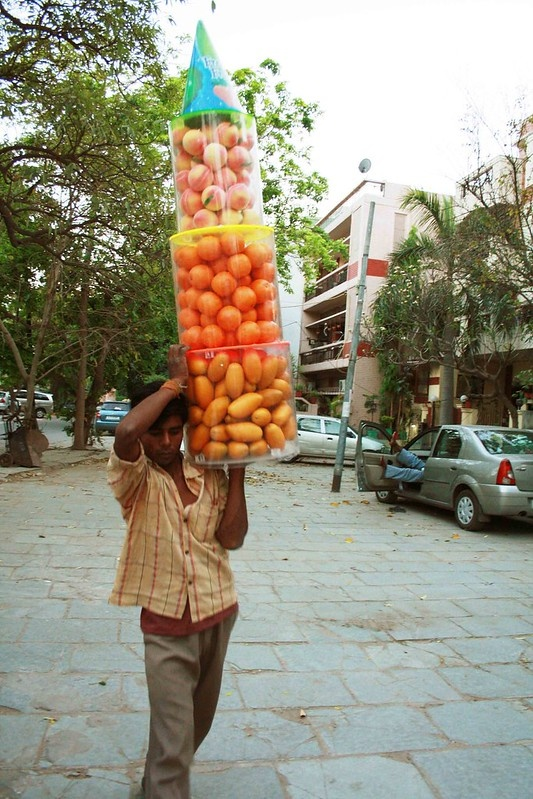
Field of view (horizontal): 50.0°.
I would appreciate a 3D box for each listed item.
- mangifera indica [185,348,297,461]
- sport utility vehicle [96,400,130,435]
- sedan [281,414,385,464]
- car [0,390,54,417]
[{"bbox_3d":[-0.074,0.044,1.870,0.345,0.366,0.330,0,-8,-30],"label":"mangifera indica"},{"bbox_3d":[-5.265,0.535,19.217,1.293,1.144,2.447,0,7,-7],"label":"sport utility vehicle"},{"bbox_3d":[1.862,1.170,17.626,2.656,1.170,1.242,-1,-1,6],"label":"sedan"},{"bbox_3d":[-9.701,0.152,23.155,2.283,1.027,1.272,14,-9,-21],"label":"car"}]
